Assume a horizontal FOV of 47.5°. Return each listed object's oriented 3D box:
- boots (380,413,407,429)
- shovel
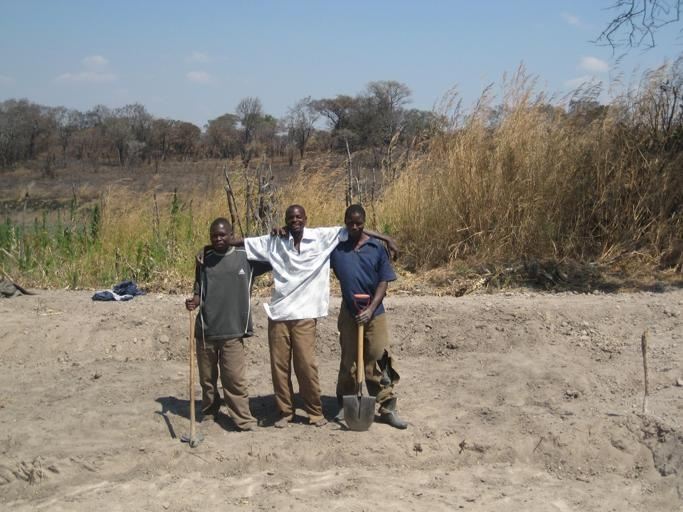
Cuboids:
[{"bbox_3d":[0.658,2.104,9.946,0.338,0.170,0.149,6,14,30],"label":"boots"},{"bbox_3d":[0.220,1.327,9.336,0.369,1.897,0.181,0,25,-1],"label":"shovel"}]
